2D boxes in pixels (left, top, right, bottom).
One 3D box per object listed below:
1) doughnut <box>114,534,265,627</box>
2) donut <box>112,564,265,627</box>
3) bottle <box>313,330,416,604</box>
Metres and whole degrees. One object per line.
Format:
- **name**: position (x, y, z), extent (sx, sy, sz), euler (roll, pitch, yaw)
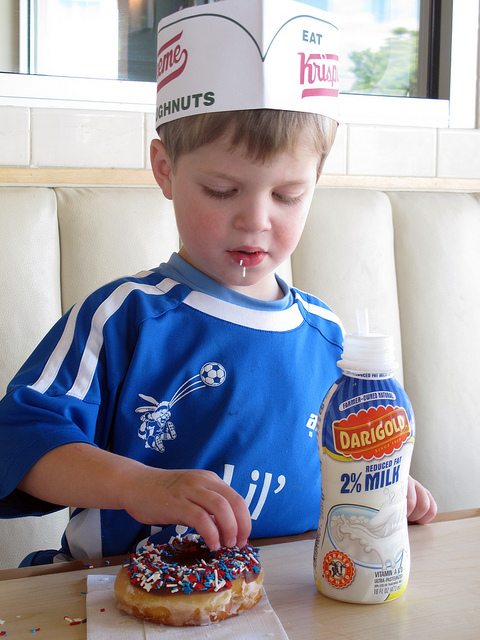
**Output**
- **doughnut**: position (-0.039, 0.207, 0.461), extent (0.124, 0.047, 0.127), euler (5, -11, -39)
- **donut**: position (-0.032, 0.213, 0.447), extent (0.108, 0.035, 0.119), euler (-6, -15, 14)
- **bottle**: position (0.109, 0.111, 0.442), extent (0.107, 0.199, 0.068), euler (2, -3, -36)
